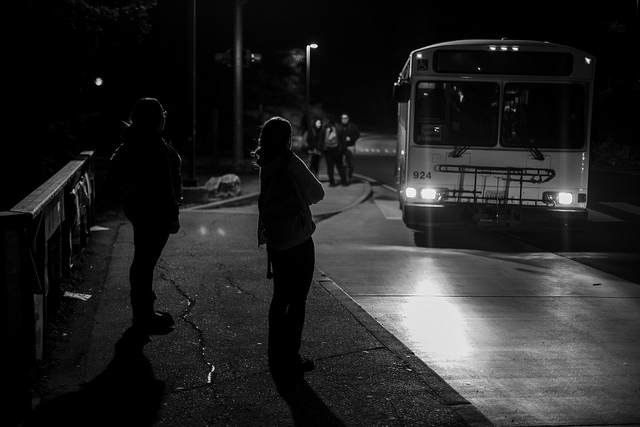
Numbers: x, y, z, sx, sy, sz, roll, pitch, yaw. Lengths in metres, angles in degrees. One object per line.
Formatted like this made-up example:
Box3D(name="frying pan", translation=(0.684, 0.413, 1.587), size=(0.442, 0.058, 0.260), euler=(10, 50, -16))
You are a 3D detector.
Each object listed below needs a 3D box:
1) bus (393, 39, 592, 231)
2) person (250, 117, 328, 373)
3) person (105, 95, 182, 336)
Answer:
Box3D(name="bus", translation=(3.847, -2.294, 15.818), size=(3.537, 3.853, 8.426), euler=(2, 13, 8))
Box3D(name="person", translation=(-0.322, 0.318, 6.195), size=(0.656, 2.468, 0.433), euler=(1, 8, -5))
Box3D(name="person", translation=(-1.951, 0.047, 6.885), size=(0.802, 2.586, 0.458), euler=(-1, 9, -19))
